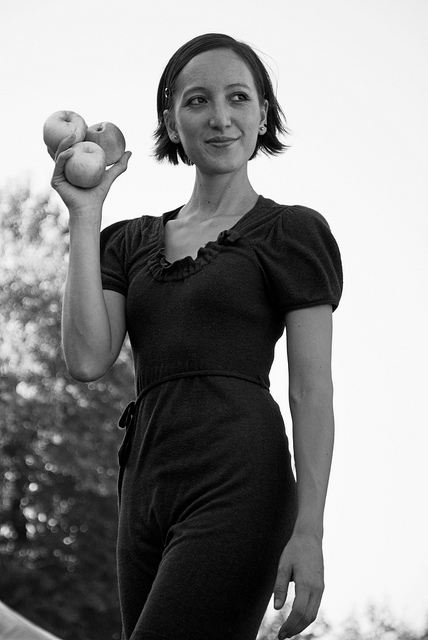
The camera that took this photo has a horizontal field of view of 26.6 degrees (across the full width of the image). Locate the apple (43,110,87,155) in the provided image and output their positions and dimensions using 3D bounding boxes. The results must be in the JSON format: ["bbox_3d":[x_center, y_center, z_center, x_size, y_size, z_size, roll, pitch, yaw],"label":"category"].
[{"bbox_3d":[-0.450,-0.558,2.753,0.127,0.132,0.132,7,-43,-16],"label":"apple"}]

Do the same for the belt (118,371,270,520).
[{"bbox_3d":[-0.047,0.284,2.403,0.382,0.383,0.094,7,7,-3],"label":"belt"}]

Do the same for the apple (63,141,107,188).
[{"bbox_3d":[-0.359,-0.465,2.666,0.125,0.122,0.125,12,22,17],"label":"apple"}]
